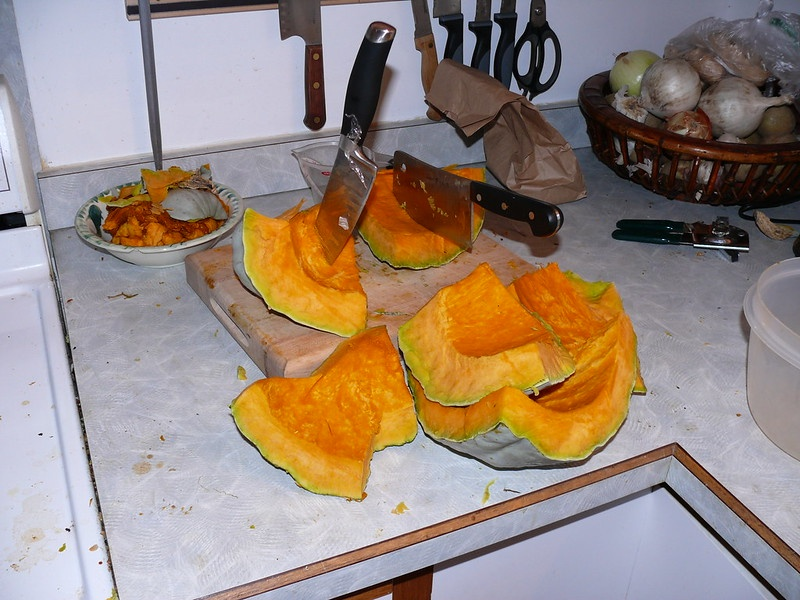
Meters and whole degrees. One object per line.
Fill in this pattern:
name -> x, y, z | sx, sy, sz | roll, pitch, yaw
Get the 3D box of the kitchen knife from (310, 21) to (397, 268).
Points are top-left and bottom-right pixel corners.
kitchen knife -> -0.073, -0.244, 0.982 | 0.090, 0.466, 0.044 | 18, 13, 23

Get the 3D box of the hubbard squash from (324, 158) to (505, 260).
hubbard squash -> -0.017, -0.144, 1.135 | 0.224, 0.092, 0.229 | -9, 41, -25

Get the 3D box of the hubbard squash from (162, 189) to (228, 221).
hubbard squash -> -0.402, -0.185, 1.166 | 0.086, 0.028, 0.074 | -6, 45, -18

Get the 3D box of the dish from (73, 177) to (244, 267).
dish -> -0.465, -0.133, 1.168 | 0.309, 0.087, 0.195 | -7, 41, -13
